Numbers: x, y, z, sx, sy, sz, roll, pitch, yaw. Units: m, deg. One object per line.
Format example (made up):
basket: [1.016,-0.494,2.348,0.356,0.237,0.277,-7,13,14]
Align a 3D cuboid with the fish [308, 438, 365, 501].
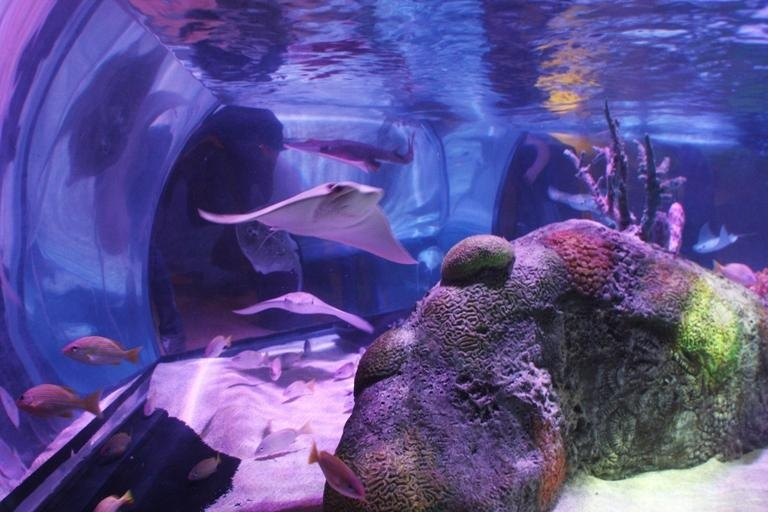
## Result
fish: [-0.484,2.289,6.030,0.539,0.577,0.134,0,21,25]

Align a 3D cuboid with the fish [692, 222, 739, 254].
fish: [7.303,-0.440,12.808,0.769,0.318,0.472,-24,1,-13]

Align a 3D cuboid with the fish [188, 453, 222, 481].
fish: [-2.143,2.563,6.974,0.221,0.140,0.475,10,25,44]

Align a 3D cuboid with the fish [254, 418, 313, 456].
fish: [-1.262,2.288,7.141,0.690,0.346,0.267,-17,20,-27]
